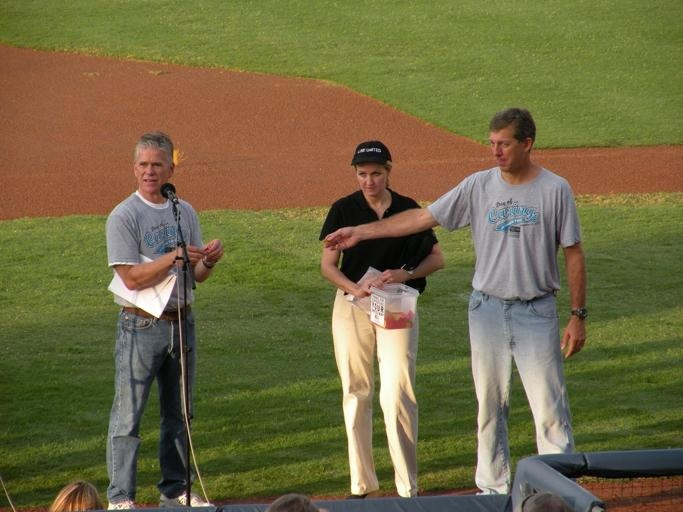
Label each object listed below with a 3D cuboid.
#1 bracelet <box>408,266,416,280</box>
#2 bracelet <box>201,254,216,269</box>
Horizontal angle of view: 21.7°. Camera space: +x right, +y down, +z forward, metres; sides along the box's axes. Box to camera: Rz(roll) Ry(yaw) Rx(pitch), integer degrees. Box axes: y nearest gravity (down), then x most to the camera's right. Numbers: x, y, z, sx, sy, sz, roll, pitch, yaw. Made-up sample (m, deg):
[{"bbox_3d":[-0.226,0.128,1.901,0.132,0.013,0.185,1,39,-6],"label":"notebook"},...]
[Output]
[{"bbox_3d":[0.640,0.153,16.569,0.078,0.082,0.095,1,-5,-16],"label":"bracelet"},{"bbox_3d":[-1.272,0.051,16.373,0.118,0.078,0.113,17,8,4],"label":"bracelet"}]
